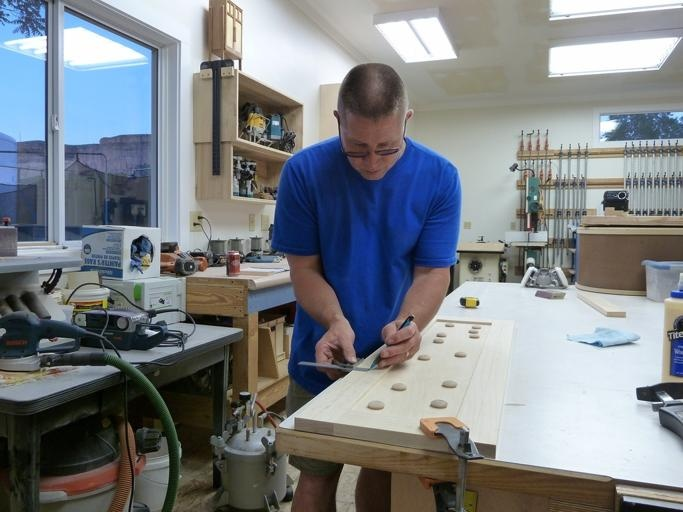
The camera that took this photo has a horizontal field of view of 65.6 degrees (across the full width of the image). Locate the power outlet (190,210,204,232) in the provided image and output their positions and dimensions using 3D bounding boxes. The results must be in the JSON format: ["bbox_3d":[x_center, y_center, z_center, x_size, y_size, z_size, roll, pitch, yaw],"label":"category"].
[{"bbox_3d":[-1.056,-0.250,3.814,0.015,0.159,0.148,0,1,27],"label":"power outlet"}]

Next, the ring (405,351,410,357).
[{"bbox_3d":[0.210,0.312,1.678,0.011,0.017,0.004,0,-3,-28],"label":"ring"}]

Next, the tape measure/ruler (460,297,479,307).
[{"bbox_3d":[0.658,0.235,2.723,0.067,0.036,0.049,2,5,1],"label":"tape measure/ruler"}]

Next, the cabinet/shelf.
[{"bbox_3d":[-0.717,-0.838,3.768,0.363,1.029,1.300,0,2,11],"label":"cabinet/shelf"}]

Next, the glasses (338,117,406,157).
[{"bbox_3d":[0.096,-0.382,1.755,0.144,0.095,0.172,3,-11,2],"label":"glasses"}]
